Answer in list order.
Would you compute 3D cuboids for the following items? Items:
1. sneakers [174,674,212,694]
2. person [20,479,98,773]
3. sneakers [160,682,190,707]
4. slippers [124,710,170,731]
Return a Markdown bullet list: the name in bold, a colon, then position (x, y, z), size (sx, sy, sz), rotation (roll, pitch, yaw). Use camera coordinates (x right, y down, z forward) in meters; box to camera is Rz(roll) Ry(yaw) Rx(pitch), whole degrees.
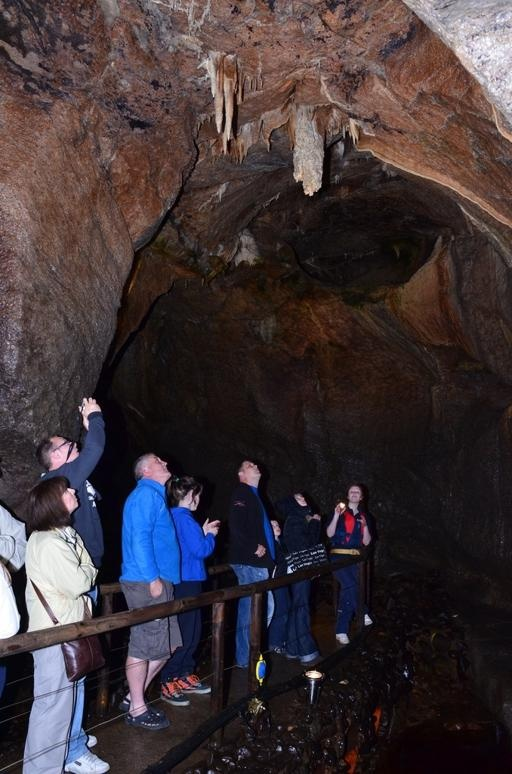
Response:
- **sneakers**: position (-0.411, 1.938, 4.452), size (0.277, 0.123, 0.097), rotation (16, 19, -31)
- **person**: position (-0.940, 1.125, 3.192), size (0.364, 1.316, 0.626), rotation (-5, 11, -8)
- **sneakers**: position (-0.513, 1.912, 4.243), size (0.084, 0.141, 0.230), rotation (28, -39, -35)
- **slippers**: position (-0.609, 1.889, 3.862), size (0.222, 0.091, 0.106), rotation (1, 4, 0)
